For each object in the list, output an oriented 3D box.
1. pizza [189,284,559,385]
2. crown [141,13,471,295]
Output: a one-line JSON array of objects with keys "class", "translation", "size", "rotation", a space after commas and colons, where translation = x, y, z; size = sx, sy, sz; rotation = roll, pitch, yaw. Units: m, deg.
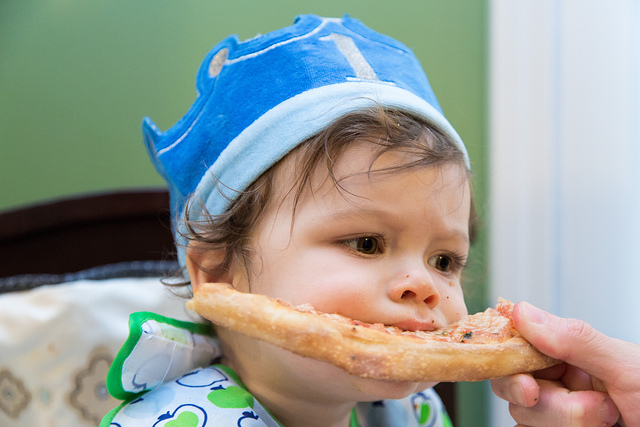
[{"class": "pizza", "translation": [0.103, 0.326, 1.764], "size": [0.609, 0.098, 0.448], "rotation": [4, -1, 12]}, {"class": "crown", "translation": [-0.028, -0.301, 2.402], "size": [0.748, 0.680, 1.014], "rotation": [-13, -12, -30]}]
